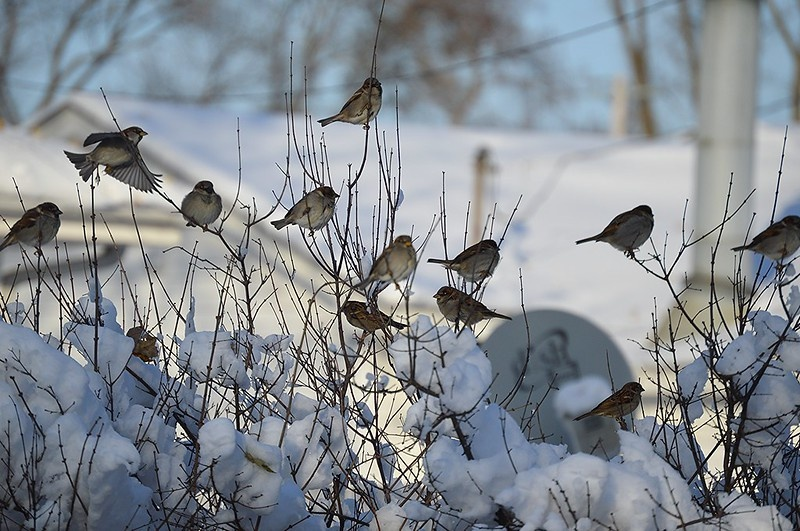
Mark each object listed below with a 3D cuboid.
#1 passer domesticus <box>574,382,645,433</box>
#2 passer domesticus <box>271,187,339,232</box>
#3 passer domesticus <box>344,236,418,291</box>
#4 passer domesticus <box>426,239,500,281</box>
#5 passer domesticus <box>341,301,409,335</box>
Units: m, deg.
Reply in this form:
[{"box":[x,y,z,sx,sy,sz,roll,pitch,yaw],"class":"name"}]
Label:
[{"box":[3.957,2.552,21.336,0.879,0.813,0.963,-1,-2,39],"class":"passer domesticus"},{"box":[-1.586,-0.995,20.809,1.038,0.802,0.502,0,-2,4],"class":"passer domesticus"},{"box":[-0.214,-0.062,19.560,0.935,0.918,0.830,0,-2,21],"class":"passer domesticus"},{"box":[1.186,-0.200,20.668,1.173,0.754,0.676,8,-27,18],"class":"passer domesticus"},{"box":[-0.551,0.907,20.571,1.516,0.705,0.463,-8,-6,41],"class":"passer domesticus"}]
